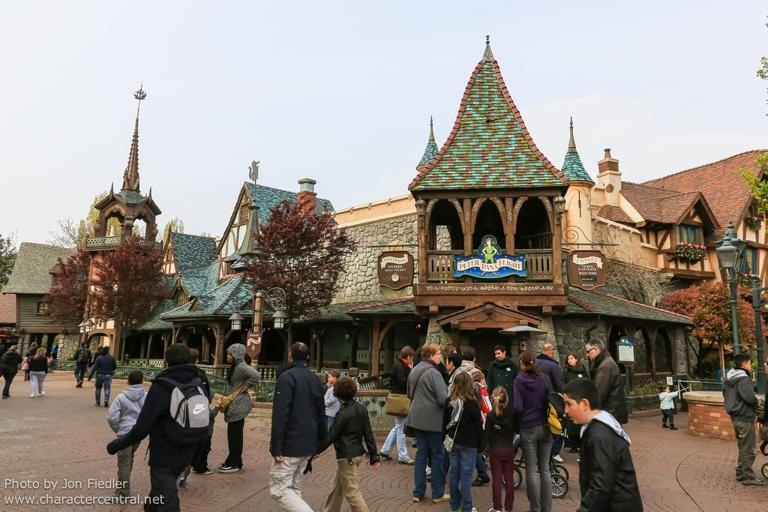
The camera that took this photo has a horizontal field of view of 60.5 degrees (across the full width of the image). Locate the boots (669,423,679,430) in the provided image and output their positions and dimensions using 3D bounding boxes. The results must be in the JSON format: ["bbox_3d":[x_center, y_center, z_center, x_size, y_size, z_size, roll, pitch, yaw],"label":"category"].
[{"bbox_3d":[8.613,5.047,19.541,0.286,0.188,0.128,-3,-1,-13],"label":"boots"}]

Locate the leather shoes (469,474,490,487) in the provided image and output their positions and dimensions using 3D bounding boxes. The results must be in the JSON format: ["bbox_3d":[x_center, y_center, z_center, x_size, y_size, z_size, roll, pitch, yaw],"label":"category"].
[{"bbox_3d":[1.976,4.651,13.679,0.451,0.183,0.165,-5,-8,-8],"label":"leather shoes"}]
